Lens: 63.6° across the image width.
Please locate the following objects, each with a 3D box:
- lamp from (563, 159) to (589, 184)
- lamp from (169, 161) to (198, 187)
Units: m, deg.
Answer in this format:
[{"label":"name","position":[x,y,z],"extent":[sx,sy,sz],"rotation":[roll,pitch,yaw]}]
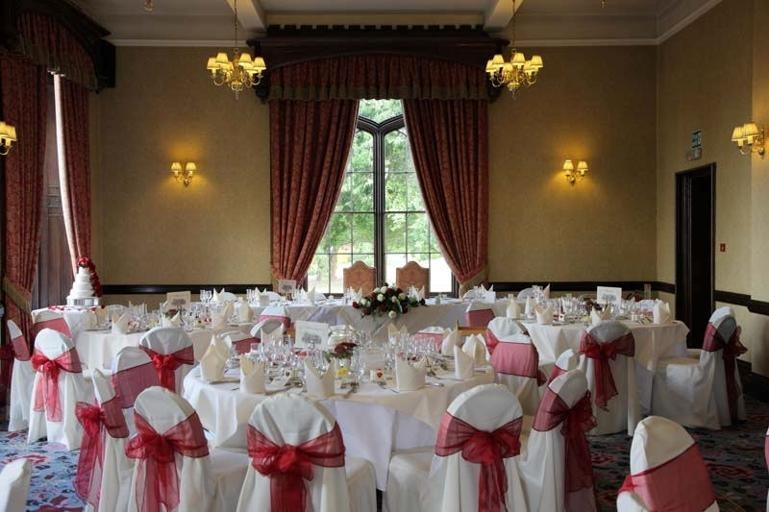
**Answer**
[{"label":"lamp","position":[3.579,-1.612,11.667],"extent":[0.384,0.410,0.231],"rotation":[-1,-2,-5]},{"label":"lamp","position":[-3.765,-1.539,11.537],"extent":[0.486,0.454,0.277],"rotation":[1,-2,-12]}]
